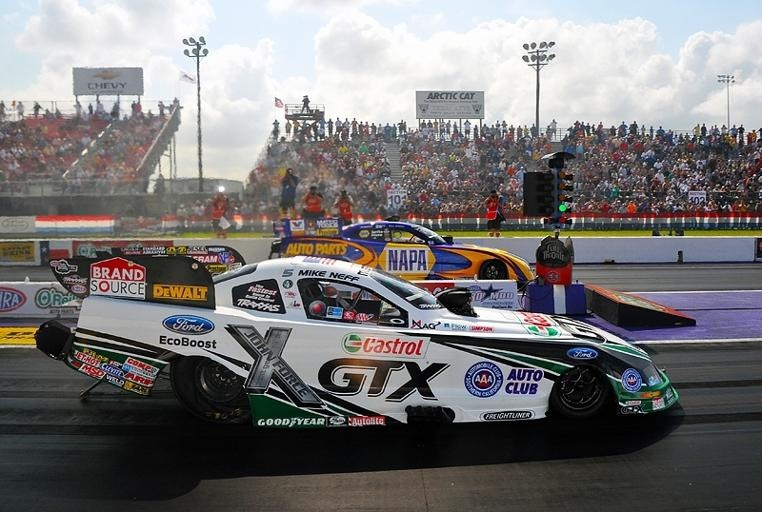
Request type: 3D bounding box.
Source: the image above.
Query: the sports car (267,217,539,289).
[{"bbox_3d":[0.443,-0.086,20.343,4.640,1.165,2.050,0,3,-2],"label":"sports car"}]
